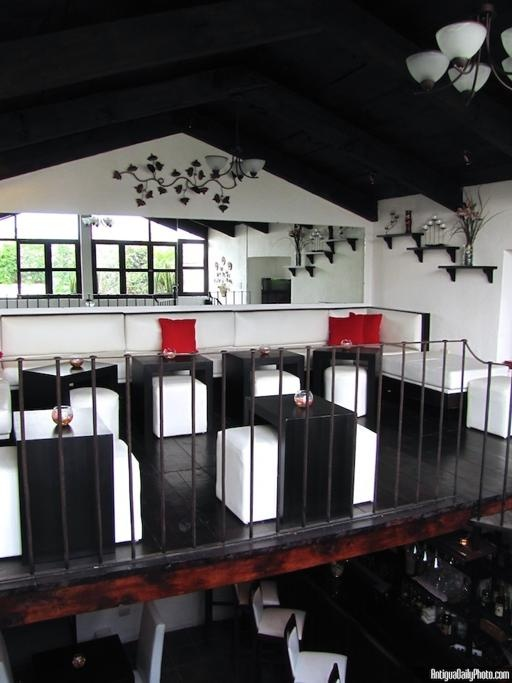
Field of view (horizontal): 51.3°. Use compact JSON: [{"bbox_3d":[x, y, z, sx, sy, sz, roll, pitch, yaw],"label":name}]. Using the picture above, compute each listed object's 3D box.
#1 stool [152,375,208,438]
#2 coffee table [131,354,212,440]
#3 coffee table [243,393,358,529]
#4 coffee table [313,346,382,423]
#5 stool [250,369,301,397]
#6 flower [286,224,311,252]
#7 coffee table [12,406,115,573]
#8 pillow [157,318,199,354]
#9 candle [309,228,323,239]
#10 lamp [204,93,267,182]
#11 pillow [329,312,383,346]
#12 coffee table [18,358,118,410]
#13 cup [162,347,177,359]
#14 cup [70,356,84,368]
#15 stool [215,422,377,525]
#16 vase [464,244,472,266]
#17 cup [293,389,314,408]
[{"bbox_3d":[-0.597,0.482,4.317,0.449,0.477,0.457,-2,6,-20],"label":"stool"},{"bbox_3d":[-0.644,0.445,4.420,0.579,0.593,0.594,-3,5,-23],"label":"coffee table"},{"bbox_3d":[0.259,0.647,3.046,0.474,0.682,0.684,2,8,-14],"label":"coffee table"},{"bbox_3d":[0.863,0.398,4.946,0.673,0.750,0.681,-3,6,-13],"label":"coffee table"},{"bbox_3d":[0.166,0.352,4.565,0.316,0.236,0.320,0,1,-28],"label":"stool"},{"bbox_3d":[0.765,-1.840,9.343,0.373,0.603,0.394,4,10,22],"label":"flower"},{"bbox_3d":[-0.843,0.590,2.362,0.388,0.653,0.580,-3,5,-25],"label":"coffee table"},{"bbox_3d":[-0.819,-0.080,5.885,0.458,0.365,0.452,-2,4,-22],"label":"pillow"},{"bbox_3d":[1.024,-1.830,8.940,0.024,0.206,0.420,-2,4,-17],"label":"candle"},{"bbox_3d":[-0.191,-2.249,6.201,0.724,1.049,0.692,3,4,43],"label":"lamp"},{"bbox_3d":[1.195,-0.140,6.328,0.442,0.167,0.323,0,41,11],"label":"pillow"},{"bbox_3d":[-1.318,0.308,3.747,0.225,0.285,0.420,6,9,33],"label":"coffee table"},{"bbox_3d":[-0.694,0.095,4.270,0.099,0.084,0.114,1,2,2],"label":"cup"},{"bbox_3d":[-1.395,0.157,4.164,0.083,0.065,0.084,-1,-7,0],"label":"cup"},{"bbox_3d":[0.087,0.684,2.873,0.690,0.461,0.494,-2,7,-25],"label":"stool"},{"bbox_3d":[2.260,-0.923,5.696,0.092,0.219,0.072,3,6,39],"label":"vase"},{"bbox_3d":[0.250,0.301,2.798,0.090,0.071,0.090,0,7,0],"label":"cup"}]
